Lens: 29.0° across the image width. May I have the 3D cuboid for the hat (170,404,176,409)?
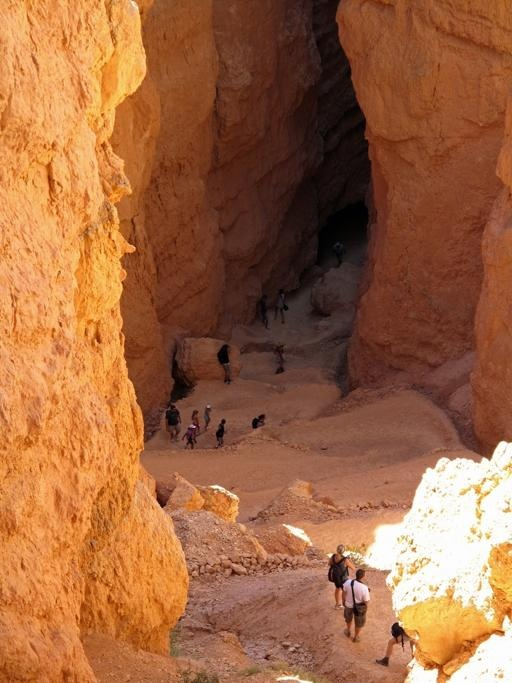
[{"bbox_3d":[-1.462,1.168,17.557,0.071,0.082,0.159,7,8,-2],"label":"hat"}]

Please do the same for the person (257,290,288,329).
[{"bbox_3d":[0.371,-0.748,23.938,0.845,0.604,0.926,-4,-33,-6],"label":"person"}]

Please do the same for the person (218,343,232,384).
[{"bbox_3d":[-0.621,0.457,19.652,0.247,0.738,0.558,-4,5,-1],"label":"person"}]

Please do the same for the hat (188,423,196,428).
[{"bbox_3d":[-1.012,1.343,15.799,0.105,0.064,0.130,1,-10,11],"label":"hat"}]
